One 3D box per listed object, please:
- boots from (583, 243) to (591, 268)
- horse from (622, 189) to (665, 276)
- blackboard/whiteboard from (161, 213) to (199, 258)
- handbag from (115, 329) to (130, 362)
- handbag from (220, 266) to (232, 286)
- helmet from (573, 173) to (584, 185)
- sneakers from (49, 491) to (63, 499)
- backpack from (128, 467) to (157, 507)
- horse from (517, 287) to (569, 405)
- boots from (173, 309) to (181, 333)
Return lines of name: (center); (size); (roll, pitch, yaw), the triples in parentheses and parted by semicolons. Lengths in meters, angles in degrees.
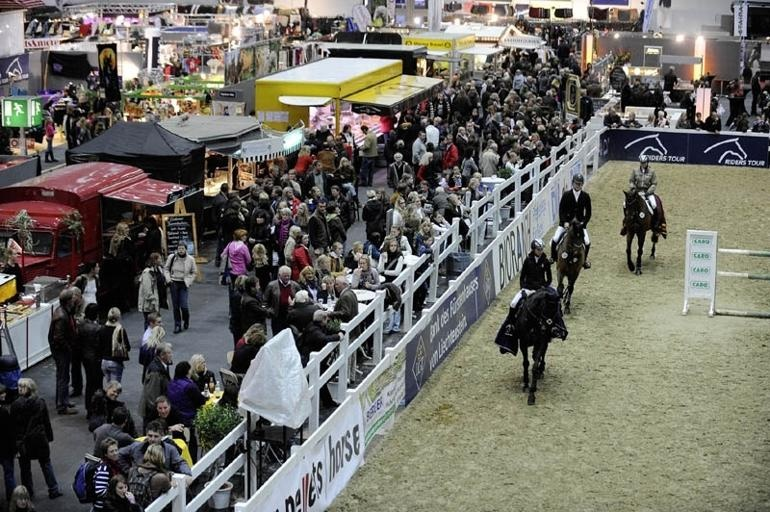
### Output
boots: (5.362, 0.001, 21.106); (0.172, 0.785, 0.410); (-1, -6, 11)
horse: (7.532, -0.719, 23.134); (1.137, 2.525, 2.069); (4, 11, 25)
blackboard/whiteboard: (-5.870, -0.588, 22.375); (0.927, 1.343, 0.842); (-1, 25, -7)
handbag: (-5.434, 1.833, 16.351); (0.222, 0.708, 0.308); (2, 10, 15)
handbag: (-4.367, 0.516, 21.639); (0.193, 0.571, 0.770); (7, 0, -8)
helmet: (4.992, -1.956, 20.296); (0.212, 0.295, 0.290); (-1, 9, -5)
sneakers: (-5.965, 4.281, 14.304); (0.215, 0.111, 0.073); (-6, 11, -22)
backpack: (-3.575, 3.408, 11.674); (0.430, 0.668, 0.378); (1, -14, 11)
horse: (3.330, 1.793, 17.161); (0.972, 2.617, 1.836); (1, 10, 10)
boots: (-5.243, 1.604, 19.927); (0.217, 0.554, 0.393); (-3, 11, -15)
